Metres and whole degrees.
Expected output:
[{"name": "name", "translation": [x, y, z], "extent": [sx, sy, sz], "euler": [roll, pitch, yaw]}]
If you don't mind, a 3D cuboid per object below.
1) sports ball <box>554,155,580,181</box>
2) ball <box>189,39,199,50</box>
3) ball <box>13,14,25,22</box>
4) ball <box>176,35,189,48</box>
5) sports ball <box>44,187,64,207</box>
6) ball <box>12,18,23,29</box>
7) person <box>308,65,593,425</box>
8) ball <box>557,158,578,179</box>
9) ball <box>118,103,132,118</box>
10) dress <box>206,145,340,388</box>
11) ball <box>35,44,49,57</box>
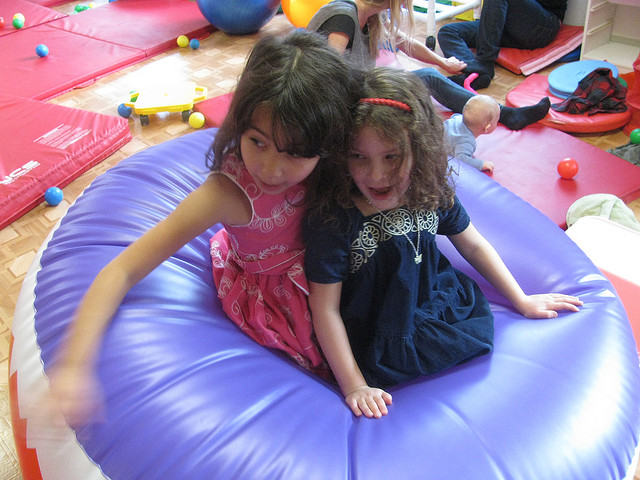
[{"name": "sports ball", "translation": [1.087, -0.315, 2.253], "extent": [0.115, 0.146, 0.112], "euler": [-3, 9, 0]}, {"name": "ball", "translation": [-0.911, -1.423, 3.666], "extent": [0.052, 0.060, 0.065], "euler": [-6, -6, 4]}, {"name": "ball", "translation": [-2.291, -1.702, 3.823], "extent": [0.066, 0.039, 0.069], "euler": [28, 25, -14]}, {"name": "ball", "translation": [-1.011, -1.463, 3.699], "extent": [0.074, 0.094, 0.079], "euler": [-8, 42, 7]}, {"name": "sports ball", "translation": [-1.201, -0.196, 2.270], "extent": [0.077, 0.086, 0.095], "euler": [11, 12, -23]}, {"name": "ball", "translation": [-2.254, -1.619, 3.756], "extent": [0.068, 0.076, 0.082], "euler": [-12, 14, -29]}, {"name": "person", "translation": [0.190, -0.011, 1.206], "extent": [0.616, 0.800, 0.484], "euler": [-23, 23, -13]}, {"name": "ball", "translation": [1.066, -0.308, 2.167], "extent": [0.076, 0.100, 0.079], "euler": [2, 0, 0]}, {"name": "ball", "translation": [-1.117, -0.735, 2.871], "extent": [0.069, 0.080, 0.074], "euler": [8, 9, -1]}, {"name": "dress", "translation": [-0.077, 0.106, 1.346], "extent": [0.313, 0.565, 0.343], "euler": [-27, 46, -35]}, {"name": "ball", "translation": [-1.853, -1.266, 3.386], "extent": [0.070, 0.079, 0.078], "euler": [-1, 38, -1]}]
